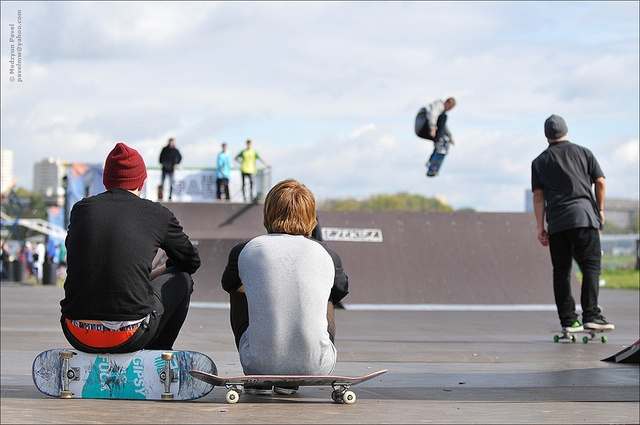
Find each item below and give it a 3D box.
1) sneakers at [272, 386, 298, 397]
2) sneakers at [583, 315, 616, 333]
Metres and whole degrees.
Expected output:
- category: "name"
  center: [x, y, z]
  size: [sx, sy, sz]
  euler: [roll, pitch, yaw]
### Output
- category: "sneakers"
  center: [-0.492, 2.630, 23.265]
  size: [0.385, 0.156, 0.130]
  euler: [3, 1, -3]
- category: "sneakers"
  center: [4.437, 1.777, 25.176]
  size: [0.521, 0.194, 0.201]
  euler: [0, -8, -7]
